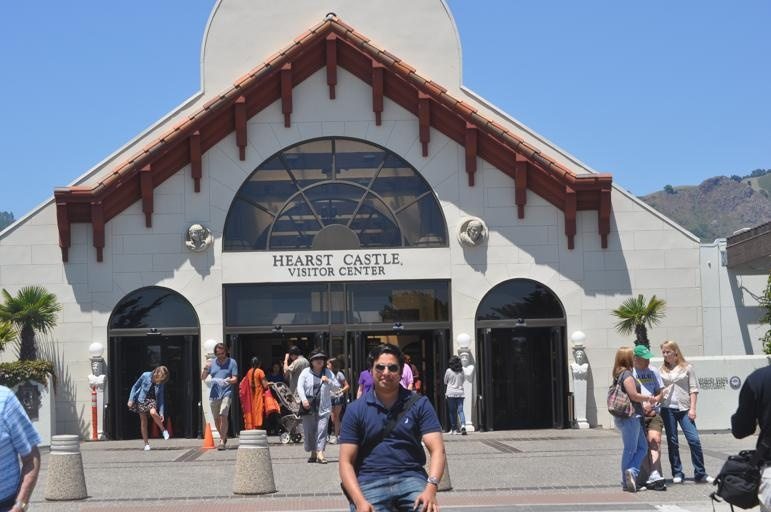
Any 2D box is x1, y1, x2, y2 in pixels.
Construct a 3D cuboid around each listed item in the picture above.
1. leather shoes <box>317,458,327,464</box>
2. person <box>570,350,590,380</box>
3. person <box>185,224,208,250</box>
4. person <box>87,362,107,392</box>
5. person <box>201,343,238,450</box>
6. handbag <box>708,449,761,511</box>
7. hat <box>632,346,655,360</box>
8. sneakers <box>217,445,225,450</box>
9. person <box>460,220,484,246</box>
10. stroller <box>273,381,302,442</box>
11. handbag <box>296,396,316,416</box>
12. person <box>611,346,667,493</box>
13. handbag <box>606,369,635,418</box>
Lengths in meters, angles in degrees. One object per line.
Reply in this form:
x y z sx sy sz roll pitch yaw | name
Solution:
-1.561 5.084 34.023 0.244 0.120 0.203 -1 -11 -3 | leather shoes
5.677 3.170 40.046 0.499 0.885 0.553 -4 -11 10 | person
-5.522 -0.538 40.115 0.706 0.743 0.166 -1 -11 -6 | person
-8.315 3.388 39.460 0.455 0.825 0.470 -2 -11 0 | person
-4.456 3.730 36.768 0.872 2.796 0.852 0 -11 -7 | person
6.910 4.412 27.112 1.118 1.099 0.879 5 -13 6 | handbag
5.896 2.177 31.191 0.431 0.242 0.317 0 28 -9 | hat
-4.424 5.133 36.787 0.198 0.133 0.181 -3 -11 8 | sneakers
2.581 -0.713 40.375 0.571 0.762 0.760 2 -29 -3 | person
-2.631 4.296 38.208 1.230 1.598 0.782 4 5 17 | stroller
-2.036 3.748 34.078 0.568 0.452 0.458 -12 -15 43 | handbag
5.566 3.628 30.704 0.883 3.206 1.087 -7 -12 27 | person
5.269 3.077 30.552 0.560 1.040 0.288 -3 -11 9 | handbag
